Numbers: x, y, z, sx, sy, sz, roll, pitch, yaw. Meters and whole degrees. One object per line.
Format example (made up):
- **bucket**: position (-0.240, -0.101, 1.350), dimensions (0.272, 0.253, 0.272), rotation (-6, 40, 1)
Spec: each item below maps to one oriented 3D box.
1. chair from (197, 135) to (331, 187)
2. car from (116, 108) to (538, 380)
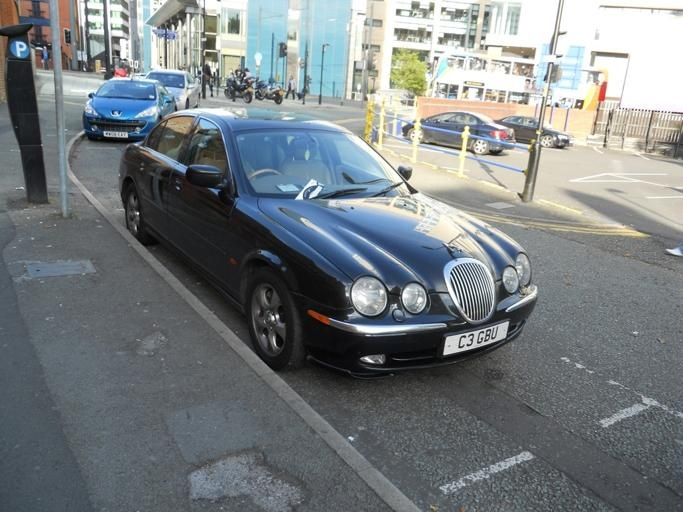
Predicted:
- **chair**: position (-0.597, -0.960, 4.505), dimensions (0.661, 0.422, 1.035), rotation (-19, 35, -28)
- **car**: position (-0.773, -0.408, 4.732), dimensions (2.109, 1.334, 4.687), rotation (-16, 32, -42)
